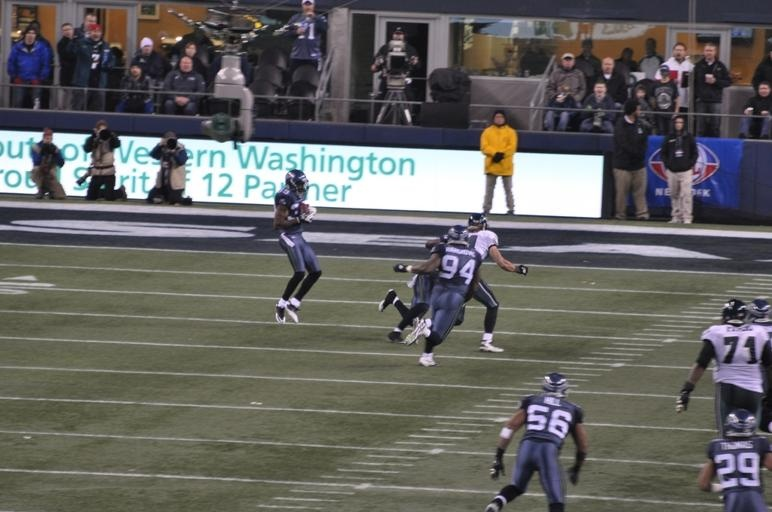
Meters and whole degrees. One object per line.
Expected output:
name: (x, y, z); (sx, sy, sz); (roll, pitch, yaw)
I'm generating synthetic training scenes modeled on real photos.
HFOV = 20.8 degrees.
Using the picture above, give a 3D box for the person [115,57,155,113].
person: (-5.985, -3.910, 50.688); (1.131, 1.210, 0.860); (-3, 19, -4)

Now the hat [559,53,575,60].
hat: (4.365, -4.708, 49.856); (0.299, 0.100, 0.404); (2, 0, 13)

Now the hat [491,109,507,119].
hat: (2.651, -3.194, 48.789); (0.324, 0.268, 0.283); (5, 26, 11)

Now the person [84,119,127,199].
person: (-6.555, -2.202, 49.878); (0.968, 1.864, 1.159); (0, 5, -7)

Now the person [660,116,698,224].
person: (6.793, -1.932, 48.673); (0.811, 2.455, 0.839); (1, 6, 7)

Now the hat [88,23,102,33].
hat: (-6.918, -5.437, 50.728); (0.284, 0.136, 0.313); (-1, 11, -13)

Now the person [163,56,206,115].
person: (-4.750, -4.018, 50.420); (0.971, 1.376, 0.440); (0, 6, -4)

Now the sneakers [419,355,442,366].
sneakers: (0.896, 1.945, 39.046); (0.145, 0.149, 0.415); (22, 15, 41)

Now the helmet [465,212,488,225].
helmet: (1.867, -0.733, 42.155); (0.460, 0.155, 0.361); (1, 34, 8)

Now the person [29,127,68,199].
person: (-7.970, -2.138, 50.097); (0.740, 1.671, 1.172); (0, 5, 0)

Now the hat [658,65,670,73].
hat: (6.562, -4.358, 49.408); (0.211, 0.199, 0.429); (1, 4, 7)

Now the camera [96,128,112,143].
camera: (-6.493, -2.797, 49.314); (0.328, 0.262, 0.328); (13, -8, -23)

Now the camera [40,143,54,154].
camera: (-7.961, -2.515, 49.784); (0.357, 0.270, 0.209); (4, 6, 35)

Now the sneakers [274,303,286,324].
sneakers: (-1.967, 1.124, 40.627); (0.211, 0.381, 0.171); (-17, 0, 27)

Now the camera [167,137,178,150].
camera: (-4.895, -2.590, 49.043); (0.319, 0.236, 0.282); (-19, 1, -7)

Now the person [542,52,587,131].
person: (4.294, -3.829, 50.008); (0.970, 1.767, 0.613); (1, 6, 9)

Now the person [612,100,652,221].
person: (5.708, -2.170, 48.770); (0.795, 2.748, 0.968); (1, 6, 5)

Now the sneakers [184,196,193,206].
sneakers: (-4.625, -1.270, 50.076); (0.209, 0.167, 0.209); (6, 14, 26)

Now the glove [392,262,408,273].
glove: (0.326, 0.238, 41.213); (0.316, 0.147, 0.490); (2, 0, 1)

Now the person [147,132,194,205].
person: (-5.033, -2.004, 49.656); (1.031, 1.710, 1.252); (0, 5, -5)

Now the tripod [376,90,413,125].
tripod: (0.203, -3.505, 50.219); (1.115, 0.697, 0.865); (2, 27, 1)

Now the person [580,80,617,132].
person: (5.058, -3.461, 49.656); (0.535, 1.180, 0.708); (-4, 7, -41)

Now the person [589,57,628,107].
person: (5.268, -4.001, 49.808); (1.028, 1.078, 0.779); (2, 8, 0)

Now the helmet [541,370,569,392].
helmet: (2.811, 2.093, 34.565); (0.339, 0.245, 0.377); (7, 1, 10)

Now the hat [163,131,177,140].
hat: (-4.926, -2.772, 49.141); (0.278, 0.250, 0.279); (0, 4, -18)

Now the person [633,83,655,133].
person: (6.000, -3.320, 49.341); (0.560, 1.219, 0.464); (-3, 16, 2)

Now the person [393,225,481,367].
person: (1.099, 0.775, 38.935); (1.420, 2.545, 0.575); (-1, 6, -9)

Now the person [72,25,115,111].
person: (-6.998, -4.498, 50.836); (0.944, 2.065, 0.447); (0, 6, -7)

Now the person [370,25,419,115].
person: (0.300, -4.477, 49.992); (1.054, 1.603, 1.345); (0, 5, -6)

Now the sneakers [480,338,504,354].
sneakers: (2.099, 1.715, 39.800); (0.622, 0.230, 0.173); (1, 4, 3)

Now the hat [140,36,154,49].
hat: (-5.706, -5.127, 51.014); (0.375, 0.301, 0.435); (1, 0, -7)

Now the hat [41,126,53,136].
hat: (-7.945, -2.905, 49.595); (0.243, 0.232, 0.279); (-6, 8, 11)

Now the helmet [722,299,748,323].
helmet: (5.938, 0.940, 35.867); (0.436, 0.368, 0.430); (2, 5, 3)
